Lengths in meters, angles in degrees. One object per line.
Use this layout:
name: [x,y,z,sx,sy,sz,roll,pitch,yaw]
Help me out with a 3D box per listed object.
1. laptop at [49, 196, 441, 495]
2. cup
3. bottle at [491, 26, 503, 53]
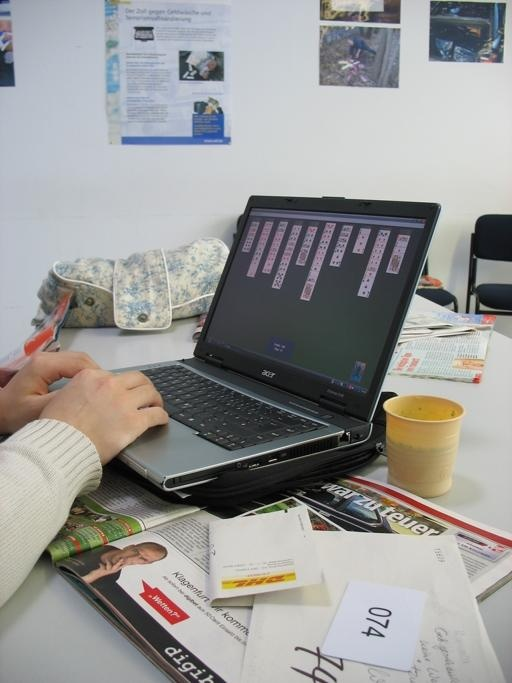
laptop: [-0.039,-0.036,0.662,0.352,0.255,0.390,-8,15,-28]
cup: [0.149,0.088,0.550,0.089,0.089,0.089,-1,11,0]
bottle: [1.405,-1.755,3.234,0.063,0.114,0.021,-3,14,-12]
